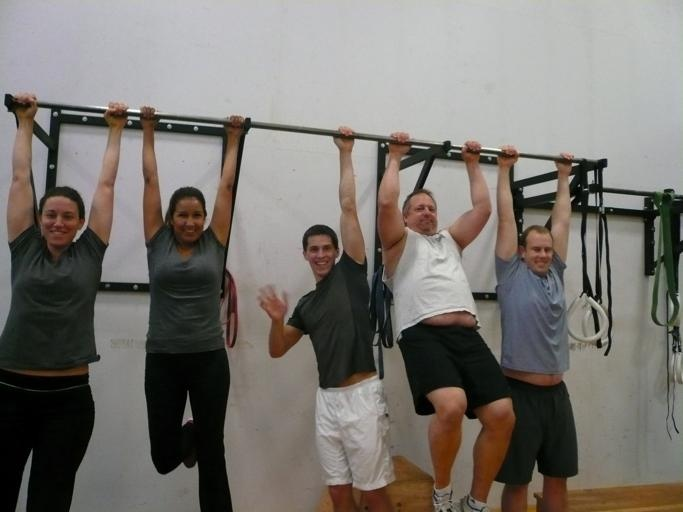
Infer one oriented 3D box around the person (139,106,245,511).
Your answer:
[{"bbox_3d":[-0.896,0.336,4.351,0.569,2.368,0.322,0,3,-10],"label":"person"}]
